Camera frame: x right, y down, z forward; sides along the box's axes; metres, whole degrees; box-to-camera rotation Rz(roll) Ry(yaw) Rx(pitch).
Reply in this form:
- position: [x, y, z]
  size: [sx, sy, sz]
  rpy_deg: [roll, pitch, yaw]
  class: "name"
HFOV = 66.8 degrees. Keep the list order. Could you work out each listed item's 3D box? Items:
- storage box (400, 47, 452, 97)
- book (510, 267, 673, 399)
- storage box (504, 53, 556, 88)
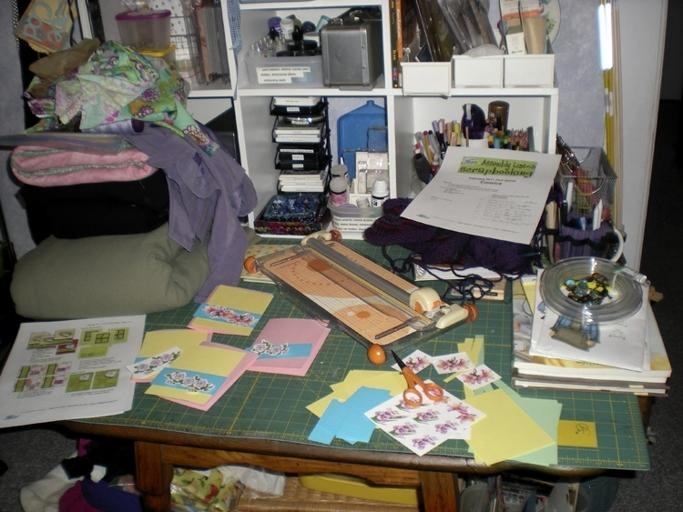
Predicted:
- position: [0.241, -0.531, 1.504]
  size: [0.114, 0.072, 0.119]
  rpy_deg: [2, 38, 6]
  class: "storage box"
- position: [0.551, 0.211, 1.253]
  size: [0.308, 0.075, 0.316]
  rpy_deg: [4, 50, 16]
  class: "book"
- position: [0.541, -0.525, 1.496]
  size: [0.109, 0.111, 0.068]
  rpy_deg: [3, -1, 4]
  class: "storage box"
